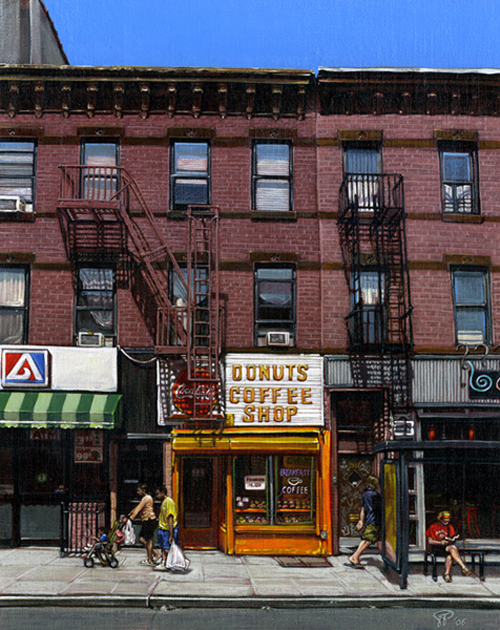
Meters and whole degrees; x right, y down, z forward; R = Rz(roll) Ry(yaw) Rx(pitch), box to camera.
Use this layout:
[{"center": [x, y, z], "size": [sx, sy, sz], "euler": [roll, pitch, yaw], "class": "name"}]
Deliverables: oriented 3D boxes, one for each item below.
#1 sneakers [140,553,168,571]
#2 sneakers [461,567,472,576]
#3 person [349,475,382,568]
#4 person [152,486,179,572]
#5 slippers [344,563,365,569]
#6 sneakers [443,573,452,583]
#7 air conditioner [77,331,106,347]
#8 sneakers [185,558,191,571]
[{"center": [-1.794, 4.672, 25.308], "size": [0.621, 0.275, 0.225], "euler": [-7, -13, 43], "class": "sneakers"}, {"center": [3.973, 4.719, 24.549], "size": [0.160, 0.137, 0.329], "euler": [-6, -14, 15], "class": "sneakers"}, {"center": [2.254, 4.034, 26.108], "size": [0.644, 1.792, 1.267], "euler": [-2, -12, 4], "class": "person"}, {"center": [-1.597, 4.097, 25.330], "size": [0.497, 1.979, 0.804], "euler": [4, -16, -6], "class": "person"}, {"center": [1.997, 4.803, 25.695], "size": [0.139, 0.124, 0.384], "euler": [17, -10, -36], "class": "slippers"}, {"center": [3.612, 4.807, 24.446], "size": [0.157, 0.167, 0.341], "euler": [-4, -13, 8], "class": "sneakers"}, {"center": [-3.257, 0.526, 27.393], "size": [0.569, 0.422, 0.520], "euler": [0, -13, -8], "class": "air conditioner"}, {"center": [-1.158, 4.645, 24.976], "size": [0.059, 0.222, 0.160], "euler": [0, -1, -3], "class": "sneakers"}]
